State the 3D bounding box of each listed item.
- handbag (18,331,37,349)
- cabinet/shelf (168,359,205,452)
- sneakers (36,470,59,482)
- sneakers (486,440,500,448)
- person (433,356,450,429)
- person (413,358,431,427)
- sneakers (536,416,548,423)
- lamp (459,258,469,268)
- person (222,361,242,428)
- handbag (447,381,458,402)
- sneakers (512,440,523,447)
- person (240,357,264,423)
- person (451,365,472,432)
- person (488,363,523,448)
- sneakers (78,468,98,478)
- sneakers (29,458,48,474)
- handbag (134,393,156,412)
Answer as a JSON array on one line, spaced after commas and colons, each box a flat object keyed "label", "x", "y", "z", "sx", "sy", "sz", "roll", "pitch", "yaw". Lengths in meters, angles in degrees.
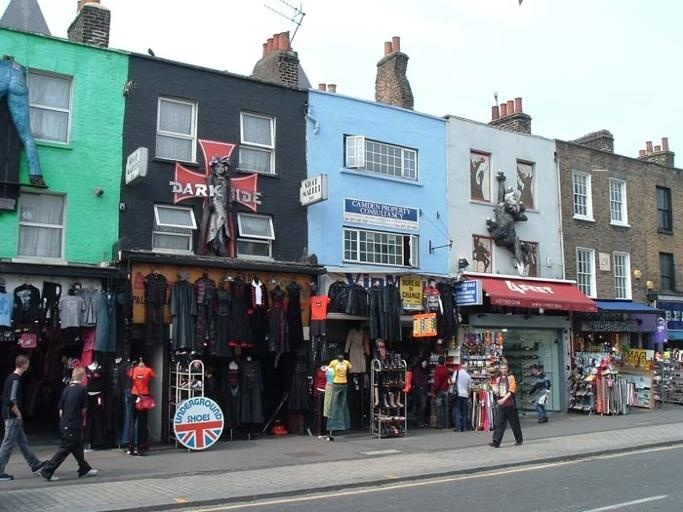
[{"label": "handbag", "x": -8.481, "y": 2.239, "z": 22.006, "sx": 0.466, "sy": 0.357, "sz": 0.522, "roll": 3, "pitch": -9, "yaw": -23}, {"label": "cabinet/shelf", "x": -4.252, "y": 3.966, "z": 22.446, "sx": 0.872, "sy": 2.491, "sz": 1.585, "roll": 1, "pitch": -9, "yaw": -14}, {"label": "sneakers", "x": -6.711, "y": 4.932, "z": 18.374, "sx": 0.678, "sy": 0.303, "sz": 0.235, "roll": -2, "pitch": -6, "yaw": 8}, {"label": "sneakers", "x": 4.208, "y": 5.218, "z": 22.651, "sx": 0.326, "sy": 0.151, "sz": 0.120, "roll": 7, "pitch": -14, "yaw": 17}, {"label": "person", "x": 3.350, "y": 4.449, "z": 26.784, "sx": 0.513, "sy": 2.333, "sz": 0.900, "roll": 1, "pitch": -9, "yaw": -13}, {"label": "person", "x": 2.764, "y": 4.609, "z": 27.564, "sx": 0.497, "sy": 2.190, "sz": 0.745, "roll": -5, "pitch": -9, "yaw": 28}, {"label": "sneakers", "x": 6.926, "y": 5.600, "z": 27.924, "sx": 0.165, "sy": 0.212, "sz": 0.494, "roll": -9, "pitch": -19, "yaw": 32}, {"label": "lamp", "x": 4.367, "y": 0.251, "z": 28.693, "sx": 0.478, "sy": 0.380, "sz": 0.221, "roll": 7, "pitch": -12, "yaw": -44}, {"label": "person", "x": -3.185, "y": 4.007, "z": 23.732, "sx": 0.485, "sy": 1.913, "sz": 0.267, "roll": 5, "pitch": -10, "yaw": -37}, {"label": "handbag", "x": 3.616, "y": 4.400, "z": 26.350, "sx": 0.300, "sy": 0.492, "sz": 0.630, "roll": 1, "pitch": 14, "yaw": 6}, {"label": "sneakers", "x": 4.964, "y": 5.260, "z": 22.882, "sx": 0.213, "sy": 0.136, "sz": 0.133, "roll": -4, "pitch": -3, "yaw": 12}, {"label": "person", "x": -2.652, "y": 3.938, "z": 23.980, "sx": 0.654, "sy": 1.869, "sz": 0.348, "roll": 1, "pitch": -8, "yaw": -11}, {"label": "person", "x": 3.892, "y": 4.521, "z": 26.251, "sx": 0.519, "sy": 2.110, "sz": 0.396, "roll": -2, "pitch": -8, "yaw": 4}, {"label": "person", "x": 4.677, "y": 4.187, "z": 23.095, "sx": 0.850, "sy": 2.321, "sz": 1.210, "roll": -3, "pitch": -9, "yaw": 12}, {"label": "sneakers", "x": -5.832, "y": 4.967, "z": 18.752, "sx": 0.401, "sy": 0.171, "sz": 0.140, "roll": -2, "pitch": 6, "yaw": -44}, {"label": "sneakers", "x": -6.900, "y": 4.830, "z": 18.736, "sx": 0.233, "sy": 0.272, "sz": 0.637, "roll": 2, "pitch": 3, "yaw": 5}, {"label": "handbag", "x": -5.215, "y": 3.931, "z": 21.548, "sx": 0.659, "sy": 0.472, "sz": 0.361, "roll": 6, "pitch": -12, "yaw": -37}]
